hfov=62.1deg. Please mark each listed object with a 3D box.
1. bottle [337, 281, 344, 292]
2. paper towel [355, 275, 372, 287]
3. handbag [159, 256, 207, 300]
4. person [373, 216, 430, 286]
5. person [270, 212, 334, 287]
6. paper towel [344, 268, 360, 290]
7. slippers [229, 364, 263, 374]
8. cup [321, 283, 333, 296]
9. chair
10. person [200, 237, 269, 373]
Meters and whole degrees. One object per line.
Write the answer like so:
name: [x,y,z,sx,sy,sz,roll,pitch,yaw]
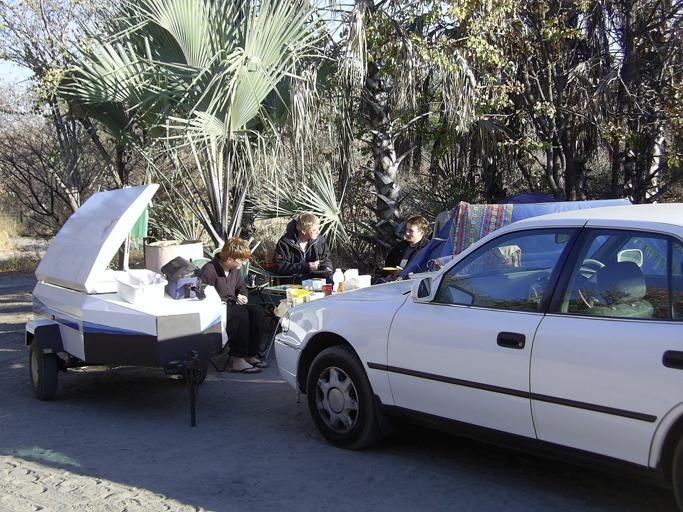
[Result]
bottle: [-0.005,0.371,6.755,0.084,0.143,0.091,7,0,0]
paper towel: [0.264,0.304,6.791,0.105,0.156,0.193,0,2,35]
handbag: [-1.536,0.216,5.464,0.298,0.354,0.466,1,3,-42]
person: [0.886,-0.015,7.584,0.756,1.048,0.731,0,-25,-11]
person: [-0.456,-0.015,7.876,0.767,1.097,0.745,14,18,23]
paper towel: [0.114,0.280,6.831,0.186,0.394,0.213,-1,-6,11]
slippers: [-1.117,1.315,6.629,0.250,0.061,0.133,-1,3,5]
cup: [-0.132,0.395,6.570,0.115,0.120,0.207,1,-11,1]
chair: [1.681,0.196,3.428,0.341,0.312,0.295,3,6,28]
person: [-1.233,0.575,6.600,0.716,1.551,0.698,-1,6,-15]
